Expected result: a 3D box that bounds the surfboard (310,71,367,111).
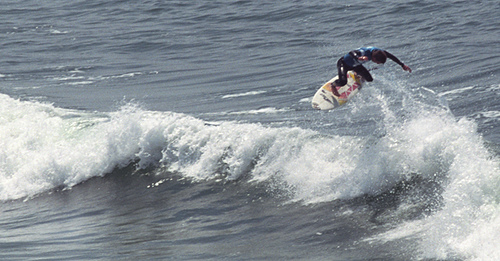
[{"bbox_3d":[4.181,-1.746,33.703,0.958,3.606,0.481,64,21,0],"label":"surfboard"}]
